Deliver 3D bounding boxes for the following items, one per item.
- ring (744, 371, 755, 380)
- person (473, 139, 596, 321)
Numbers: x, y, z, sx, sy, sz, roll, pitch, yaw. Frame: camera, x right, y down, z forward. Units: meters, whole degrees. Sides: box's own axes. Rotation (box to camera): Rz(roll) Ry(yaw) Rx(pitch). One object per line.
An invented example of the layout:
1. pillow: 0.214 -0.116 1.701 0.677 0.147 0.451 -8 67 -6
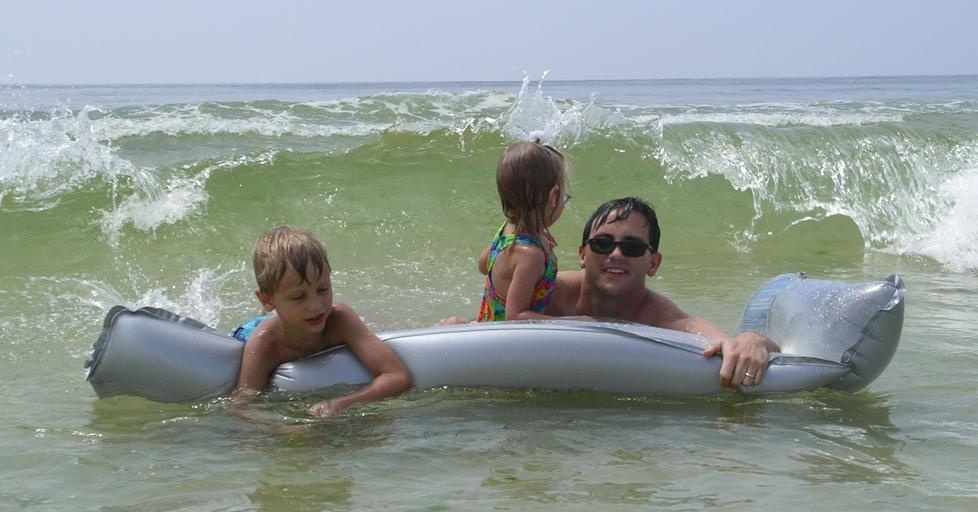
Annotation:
1. ring: 2.596 1.185 8.979 0.098 0.081 0.036 12 -7 34
2. person: 0.356 -0.229 9.276 0.755 1.894 0.448 5 6 3
